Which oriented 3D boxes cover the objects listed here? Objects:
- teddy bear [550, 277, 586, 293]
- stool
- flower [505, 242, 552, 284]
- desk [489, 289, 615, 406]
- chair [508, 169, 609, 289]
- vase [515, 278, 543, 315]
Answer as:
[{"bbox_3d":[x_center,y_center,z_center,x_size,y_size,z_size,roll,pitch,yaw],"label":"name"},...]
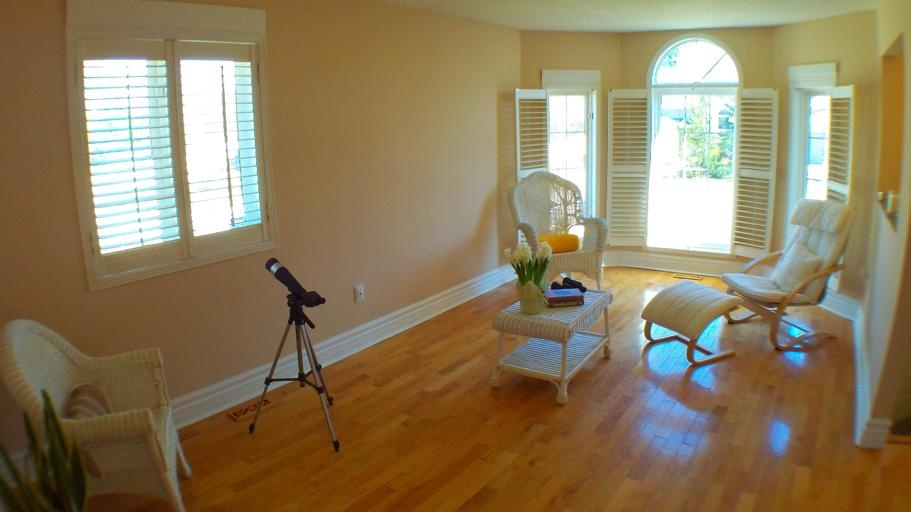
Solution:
[{"bbox_3d":[1.173,0.317,6.218,0.294,0.083,0.213,2,3,-7],"label":"teddy bear"},{"bbox_3d":[2.564,0.631,6.546,1.138,0.981,0.768,2,-1,18],"label":"stool"},{"bbox_3d":[0.767,0.069,6.065,0.449,0.474,0.452,-1,8,18],"label":"flower"},{"bbox_3d":[0.982,0.864,6.024,0.843,0.799,1.152,8,18,32],"label":"desk"},{"bbox_3d":[1.332,-0.420,7.740,1.030,1.552,1.209,-3,10,-8],"label":"chair"},{"bbox_3d":[0.729,0.434,5.828,0.322,0.300,0.250,-1,8,6],"label":"vase"}]
